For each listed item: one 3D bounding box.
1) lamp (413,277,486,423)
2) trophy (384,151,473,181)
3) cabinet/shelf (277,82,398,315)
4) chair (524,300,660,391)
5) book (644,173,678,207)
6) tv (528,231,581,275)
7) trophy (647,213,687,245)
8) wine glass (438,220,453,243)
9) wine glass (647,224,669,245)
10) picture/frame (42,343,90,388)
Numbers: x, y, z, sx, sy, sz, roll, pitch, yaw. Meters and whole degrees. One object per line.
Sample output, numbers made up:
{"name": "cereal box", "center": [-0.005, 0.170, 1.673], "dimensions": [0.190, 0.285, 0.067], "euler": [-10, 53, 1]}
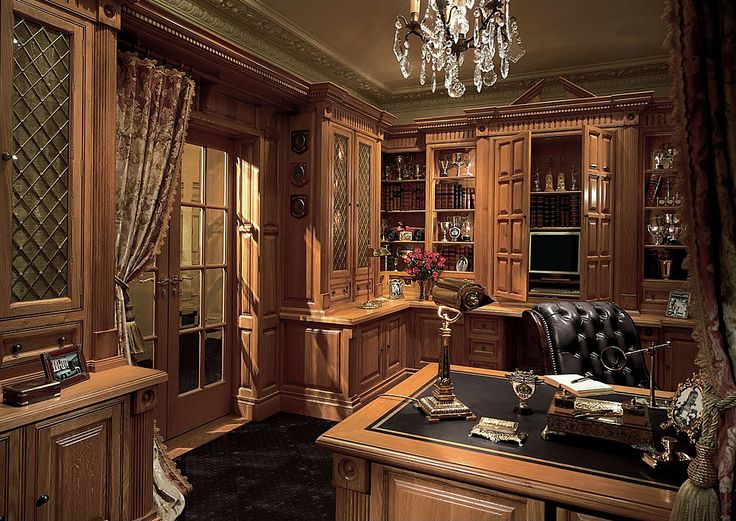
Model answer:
{"name": "lamp", "center": [0.391, 0.437, 2.611], "dimensions": [0.271, 0.699, 0.283], "euler": [1, 6, -7]}
{"name": "trophy", "center": [0.694, -1.080, 5.982], "dimensions": [0.960, 0.366, 0.264], "euler": [8, 7, 25]}
{"name": "cabinet/shelf", "center": [-0.340, -0.561, 4.957], "dimensions": [0.438, 2.022, 1.026], "euler": [5, 5, 36]}
{"name": "chair", "center": [1.399, 0.495, 3.383], "dimensions": [0.595, 0.612, 0.546], "euler": [7, 5, 31]}
{"name": "book", "center": [2.781, -0.668, 5.021], "dimensions": [0.245, 0.310, 0.183], "euler": [6, 14, 27]}
{"name": "tv", "center": [1.805, -0.075, 5.120], "dimensions": [0.464, 0.401, 0.109], "euler": [4, 12, 19]}
{"name": "trophy", "center": [2.816, -0.293, 5.017], "dimensions": [0.303, 0.305, 0.216], "euler": [10, 16, 39]}
{"name": "wine glass", "center": [0.837, -0.313, 5.792], "dimensions": [0.176, 0.269, 0.194], "euler": [1, 2, 6]}
{"name": "wine glass", "center": [2.764, -0.243, 5.027], "dimensions": [0.165, 0.185, 0.173], "euler": [0, 1, 34]}
{"name": "picture/frame", "center": [-1.615, 0.565, 2.792], "dimensions": [0.021, 0.213, 0.215], "euler": [-17, -6, 24]}
